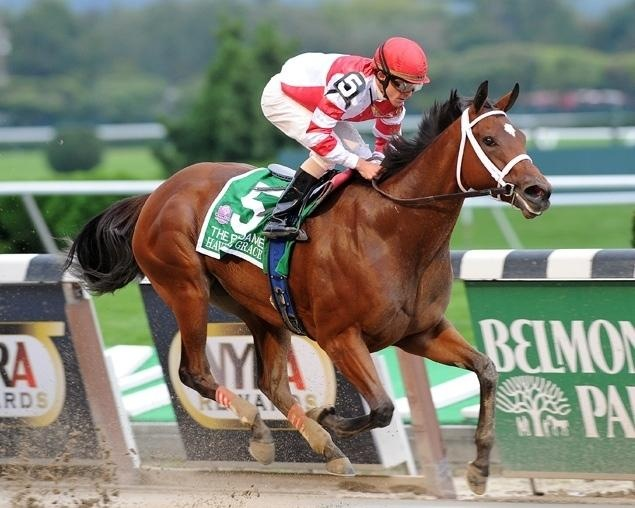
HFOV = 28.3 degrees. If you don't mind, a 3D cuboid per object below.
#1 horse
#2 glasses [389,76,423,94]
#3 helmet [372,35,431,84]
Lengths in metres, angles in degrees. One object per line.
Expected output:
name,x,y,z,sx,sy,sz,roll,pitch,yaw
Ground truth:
horse,-0.105,0.136,7.822,1.163,2.252,4.338,-5,8,-38
glasses,0.490,-0.923,6.914,0.099,0.030,0.123,0,26,-46
helmet,0.493,-1.084,6.973,0.291,0.177,0.390,-18,35,-37
